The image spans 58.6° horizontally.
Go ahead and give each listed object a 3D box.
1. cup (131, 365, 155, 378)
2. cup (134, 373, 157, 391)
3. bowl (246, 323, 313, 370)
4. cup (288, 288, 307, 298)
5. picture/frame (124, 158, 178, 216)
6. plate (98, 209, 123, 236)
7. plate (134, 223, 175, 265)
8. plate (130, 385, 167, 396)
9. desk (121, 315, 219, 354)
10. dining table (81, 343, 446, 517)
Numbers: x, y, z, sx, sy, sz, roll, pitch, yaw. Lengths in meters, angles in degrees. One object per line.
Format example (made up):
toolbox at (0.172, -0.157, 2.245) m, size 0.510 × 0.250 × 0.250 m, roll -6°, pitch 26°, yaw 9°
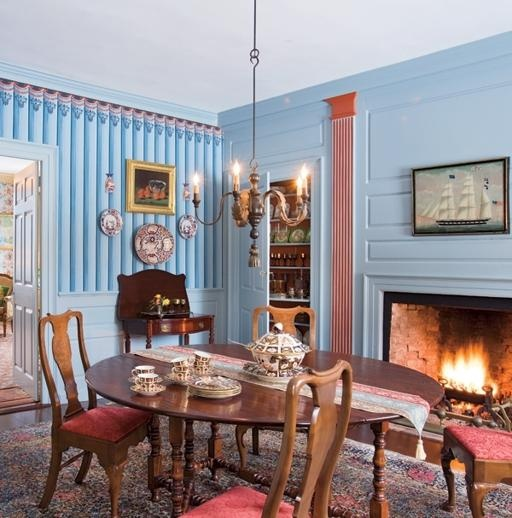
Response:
cup at (-0.565, 0.542, 2.245) m, size 0.092 × 0.060 × 0.070 m, roll 0°, pitch 4°, yaw -19°
cup at (-0.485, 0.534, 1.990) m, size 0.083 × 0.052 × 0.064 m, roll -1°, pitch -2°, yaw 27°
bowl at (0.111, 0.434, 2.244) m, size 0.305 × 0.216 × 0.294 m, roll 0°, pitch 1°, yaw 0°
cup at (0.432, 0.364, 4.775) m, size 0.223 × 0.098 × 0.092 m, roll 0°, pitch -1°, yaw 19°
picture/frame at (-1.157, -0.764, 4.864) m, size 0.749 × 0.665 × 0.053 m, roll 1°, pitch -1°, yaw -35°
plate at (-1.456, -0.358, 4.598) m, size 0.075 × 0.190 × 0.268 m, roll 0°, pitch -1°, yaw 45°
plate at (-1.062, -0.147, 4.862) m, size 0.102 × 0.392 × 0.431 m, roll 5°, pitch 8°, yaw 45°
plate at (-0.465, 0.561, 1.973) m, size 0.149 × 0.042 × 0.127 m, roll 1°, pitch -1°, yaw -14°
desk at (-0.840, 0.820, 4.698) m, size 0.752 × 0.420 × 0.447 m, roll 1°, pitch -3°, yaw -38°
dining table at (0.151, 0.594, 2.009) m, size 1.098 × 0.257 × 1.147 m, roll -2°, pitch 4°, yaw -32°
